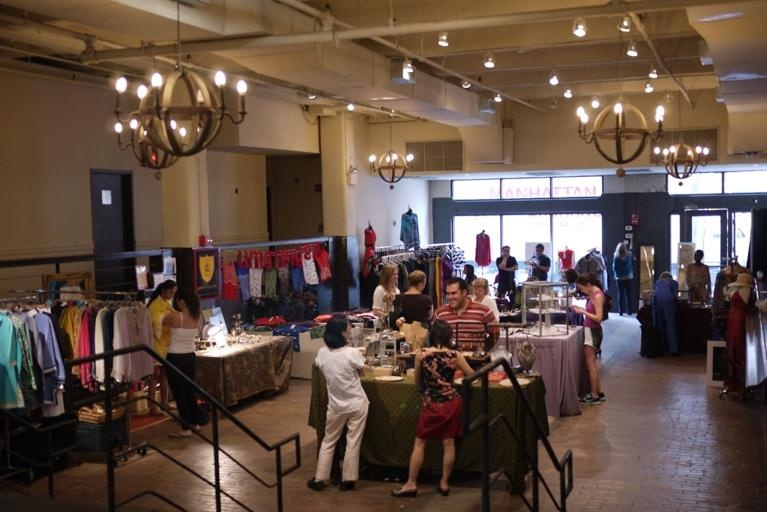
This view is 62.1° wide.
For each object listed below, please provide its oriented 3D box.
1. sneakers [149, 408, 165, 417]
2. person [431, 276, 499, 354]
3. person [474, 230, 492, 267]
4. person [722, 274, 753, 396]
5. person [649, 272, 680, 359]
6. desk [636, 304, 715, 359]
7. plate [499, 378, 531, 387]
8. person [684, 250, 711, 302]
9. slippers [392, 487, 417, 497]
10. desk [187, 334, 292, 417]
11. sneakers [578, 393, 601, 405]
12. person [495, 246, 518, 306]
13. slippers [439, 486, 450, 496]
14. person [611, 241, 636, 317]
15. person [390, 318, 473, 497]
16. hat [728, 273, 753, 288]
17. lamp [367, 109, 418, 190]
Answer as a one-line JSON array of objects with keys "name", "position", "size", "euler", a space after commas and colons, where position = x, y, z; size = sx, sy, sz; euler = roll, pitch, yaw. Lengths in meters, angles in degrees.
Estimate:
[{"name": "sneakers", "position": [-3.401, 2.327, 9.546], "size": [0.150, 0.151, 0.123], "euler": [2, 2, 29]}, {"name": "person", "position": [1.069, 0.764, 8.285], "size": [0.869, 0.920, 0.524], "euler": [-8, -3, 24]}, {"name": "person", "position": [2.830, -0.223, 18.128], "size": [0.414, 1.031, 0.528], "euler": [-1, 4, 6]}, {"name": "person", "position": [5.338, 1.189, 9.615], "size": [0.364, 1.877, 0.271], "euler": [3, 6, 44]}, {"name": "person", "position": [5.604, 1.132, 12.632], "size": [0.495, 1.553, 0.858], "euler": [1, 5, 24]}, {"name": "desk", "position": [5.790, 1.781, 12.569], "size": [1.464, 0.991, 0.968], "euler": [0, 4, 25]}, {"name": "plate", "position": [1.441, 1.381, 6.991], "size": [0.319, 0.047, 0.271], "euler": [-1, 2, 40]}, {"name": "person", "position": [6.755, 0.428, 13.646], "size": [0.449, 1.134, 0.912], "euler": [1, 5, 26]}, {"name": "slippers", "position": [0.235, 2.547, 6.859], "size": [0.228, 0.080, 0.106], "euler": [4, -7, 5]}, {"name": "desk", "position": [-2.097, 1.811, 9.806], "size": [0.451, 0.876, 1.521], "euler": [2, 6, 35]}, {"name": "sneakers", "position": [3.097, 2.129, 9.526], "size": [0.328, 0.150, 0.123], "euler": [3, -1, -1]}, {"name": "person", "position": [3.059, 0.482, 15.832], "size": [0.489, 1.439, 2.268], "euler": [0, 5, 11]}, {"name": "slippers", "position": [0.659, 2.522, 6.872], "size": [0.070, 0.072, 0.178], "euler": [-2, -10, 4]}, {"name": "person", "position": [6.382, 0.614, 16.904], "size": [0.474, 1.938, 0.993], "euler": [1, 5, 20]}, {"name": "person", "position": [0.557, 1.620, 6.759], "size": [0.729, 1.911, 0.306], "euler": [-1, 4, 1]}, {"name": "hat", "position": [5.378, 0.356, 9.555], "size": [0.230, 0.129, 0.207], "euler": [20, 4, 23]}, {"name": "lamp", "position": [0.186, -2.450, 15.054], "size": [1.093, 1.685, 3.233], "euler": [-1, 5, 2]}]
